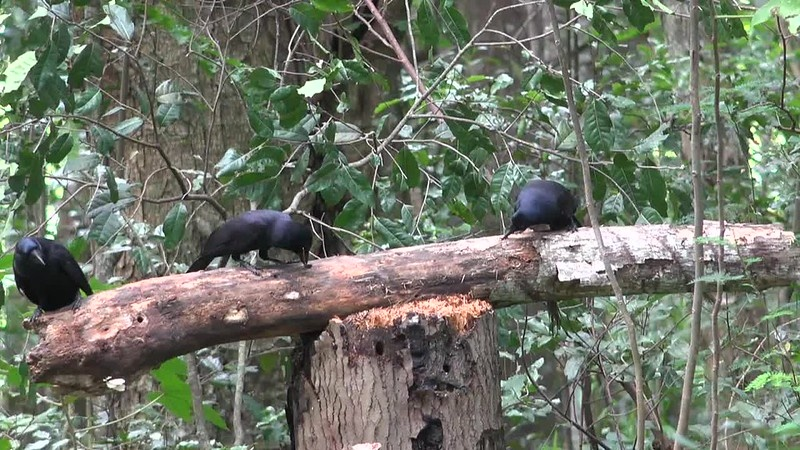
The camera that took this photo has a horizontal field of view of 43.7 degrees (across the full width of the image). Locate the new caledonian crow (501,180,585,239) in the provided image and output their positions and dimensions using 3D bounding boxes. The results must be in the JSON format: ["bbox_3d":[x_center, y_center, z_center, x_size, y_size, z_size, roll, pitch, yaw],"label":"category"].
[{"bbox_3d":[1.218,-0.155,8.535,0.503,0.329,0.529,-5,-2,9],"label":"new caledonian crow"}]

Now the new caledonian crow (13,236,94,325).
[{"bbox_3d":[-3.037,0.409,8.555,0.517,0.687,0.876,-19,6,-13],"label":"new caledonian crow"}]
